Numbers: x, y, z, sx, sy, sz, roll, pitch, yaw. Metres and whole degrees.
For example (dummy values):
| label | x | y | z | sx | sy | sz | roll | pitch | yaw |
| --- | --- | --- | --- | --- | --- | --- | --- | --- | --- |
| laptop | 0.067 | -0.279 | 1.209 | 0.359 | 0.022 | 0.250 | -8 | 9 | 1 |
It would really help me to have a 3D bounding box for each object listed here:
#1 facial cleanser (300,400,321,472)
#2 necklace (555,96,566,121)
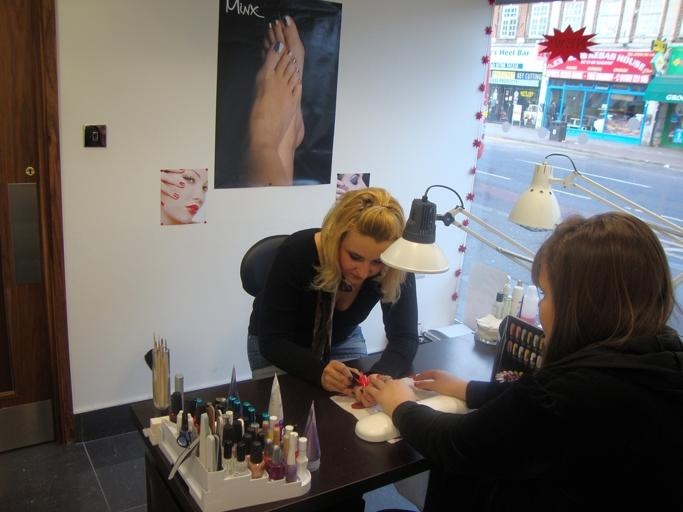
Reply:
| label | x | y | z | sx | sy | sz | roll | pitch | yaw |
| --- | --- | --- | --- | --- | --- | --- | --- | --- | --- |
| facial cleanser | -0.085 | 0.541 | 1.564 | 0.052 | 0.190 | 0.125 | 2 | 14 | -1 |
| necklace | 1.276 | -0.848 | 3.019 | 0.013 | 0.120 | 0.065 | -8 | 17 | -36 |
